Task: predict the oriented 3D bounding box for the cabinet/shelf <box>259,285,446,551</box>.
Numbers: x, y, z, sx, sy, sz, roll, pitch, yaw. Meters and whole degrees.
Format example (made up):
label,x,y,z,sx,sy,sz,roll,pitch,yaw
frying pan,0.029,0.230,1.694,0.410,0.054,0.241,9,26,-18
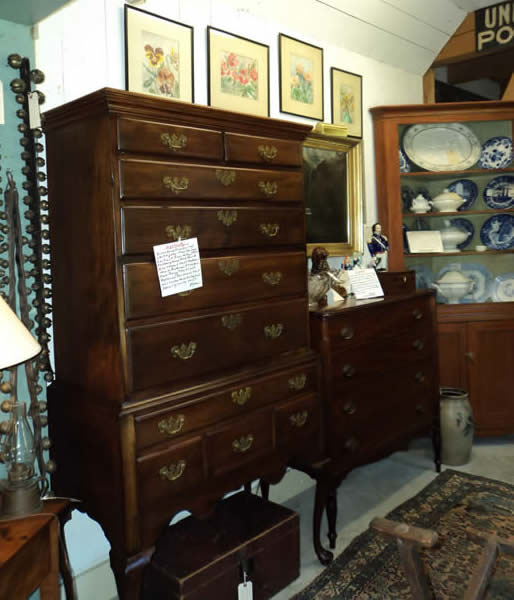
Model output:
label,x,y,z,sx,sy,sz,roll,pitch,yaw
cabinet/shelf,0.431,0.533,2.215,0.443,1.063,1.155,1,6,41
